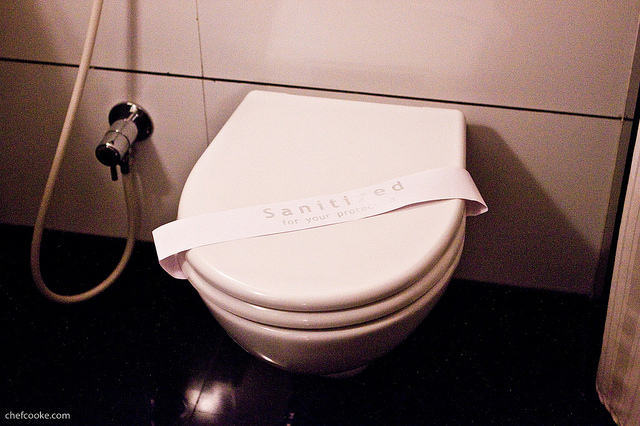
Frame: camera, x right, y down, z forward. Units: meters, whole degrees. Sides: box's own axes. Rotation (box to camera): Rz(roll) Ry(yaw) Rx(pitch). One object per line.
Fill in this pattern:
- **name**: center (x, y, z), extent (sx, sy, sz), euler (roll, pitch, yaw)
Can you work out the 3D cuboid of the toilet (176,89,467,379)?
- **toilet**: center (0.011, 0.101, 1.266), extent (0.608, 0.469, 0.715), euler (7, 42, 15)
